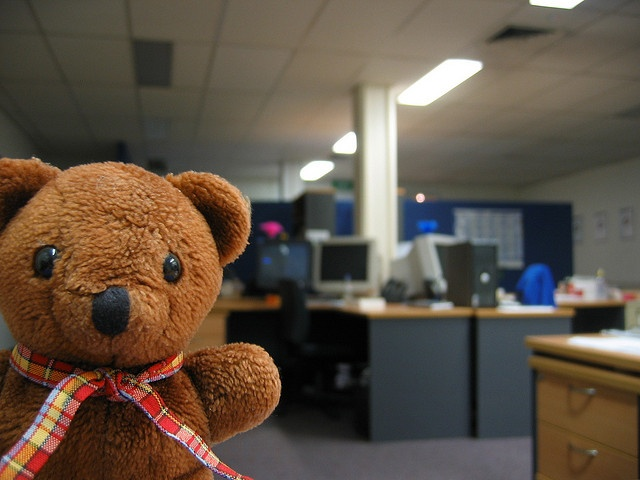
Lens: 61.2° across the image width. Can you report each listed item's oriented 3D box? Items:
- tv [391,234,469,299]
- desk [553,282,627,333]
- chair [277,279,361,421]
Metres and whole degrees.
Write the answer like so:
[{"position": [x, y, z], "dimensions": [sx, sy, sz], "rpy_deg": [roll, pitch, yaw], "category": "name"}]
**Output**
[{"position": [0.682, 0.170, 3.311], "dimensions": [0.339, 0.426, 0.497], "rpy_deg": [-1, 1, -1], "category": "tv"}, {"position": [1.345, 0.343, 2.768], "dimensions": [0.290, 0.330, 0.470], "rpy_deg": [0, 1, 19], "category": "desk"}, {"position": [-0.039, 0.725, 3.803], "dimensions": [0.689, 1.198, 0.755], "rpy_deg": [0, -9, 1], "category": "chair"}]
